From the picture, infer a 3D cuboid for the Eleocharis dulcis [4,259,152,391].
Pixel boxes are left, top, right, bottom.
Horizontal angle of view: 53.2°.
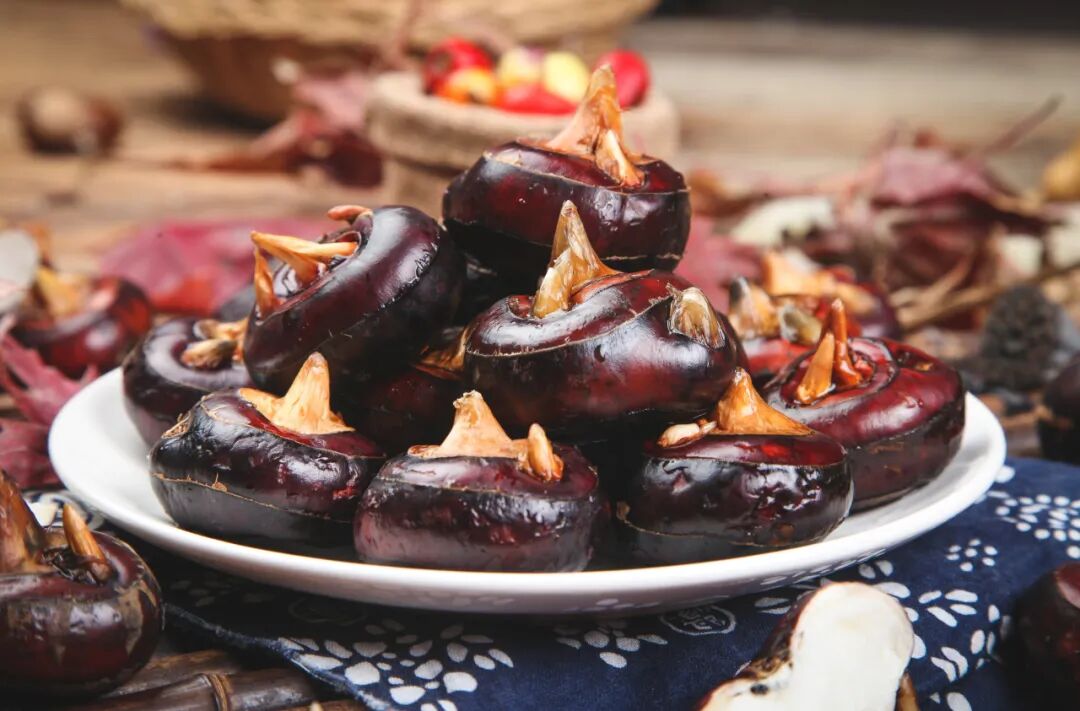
[{"bbox_3d":[-0.566,-0.040,1.328,0.159,0.069,0.146,-10,21,-25],"label":"Eleocharis dulcis"}]
